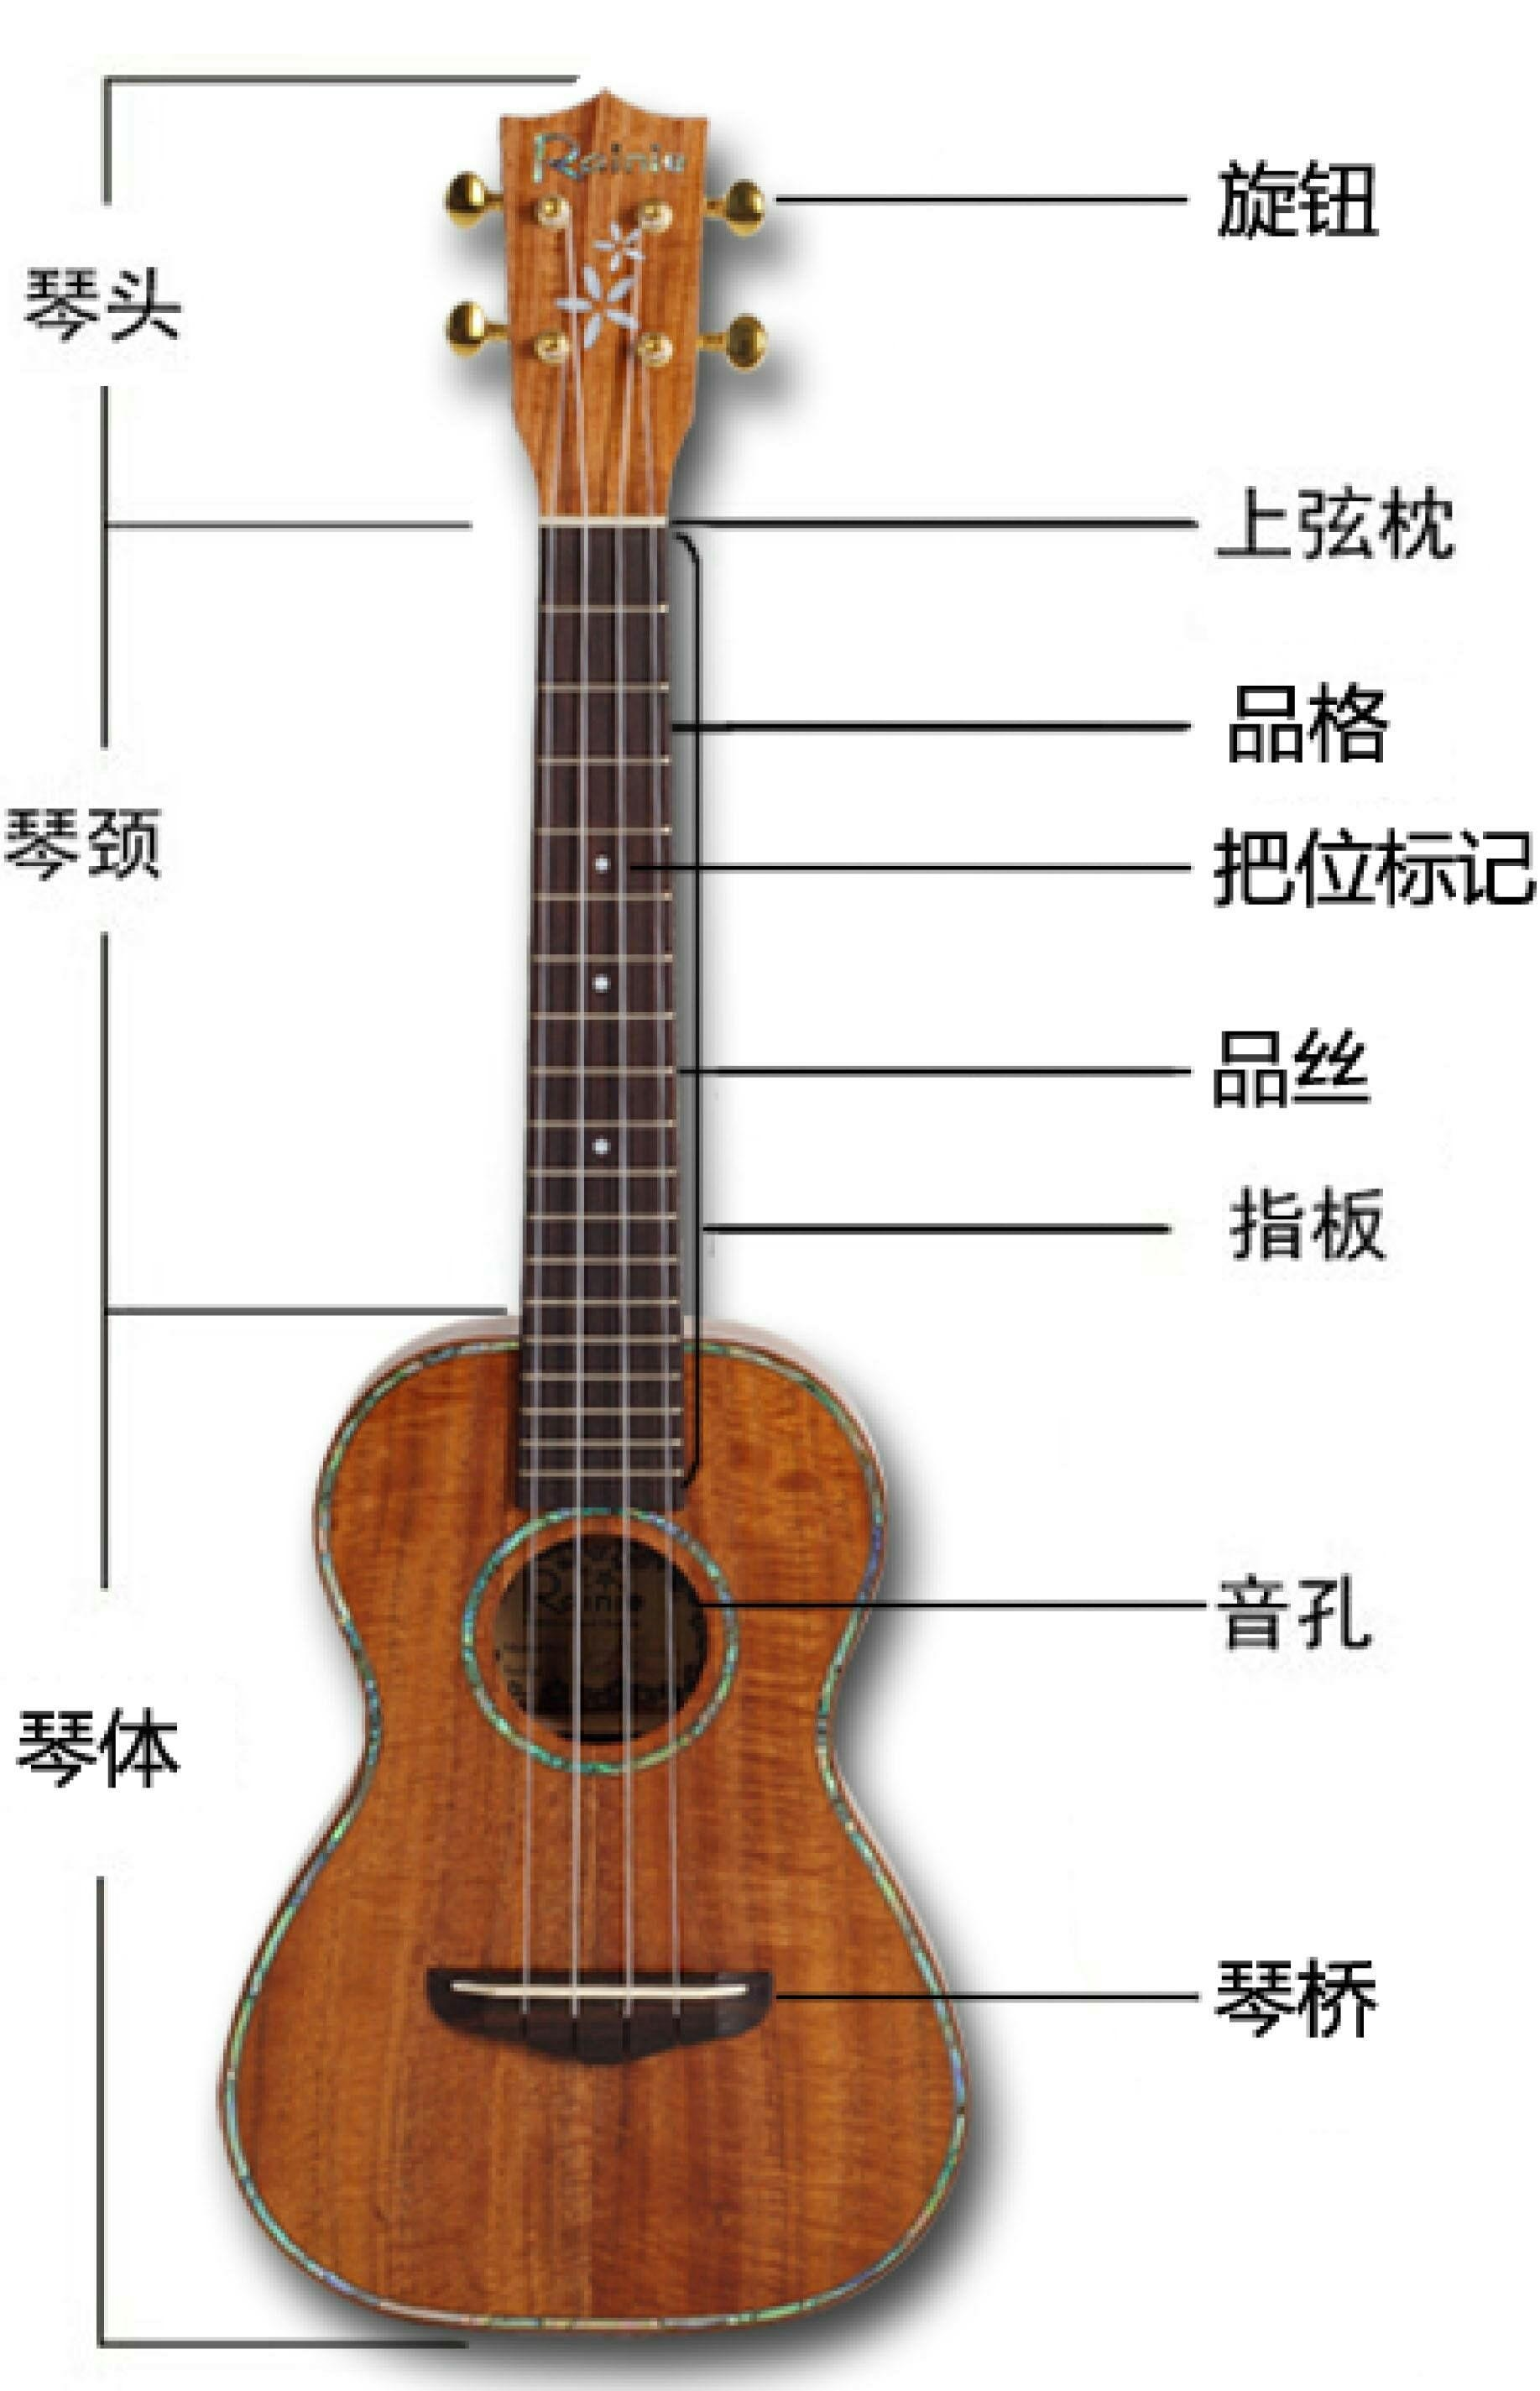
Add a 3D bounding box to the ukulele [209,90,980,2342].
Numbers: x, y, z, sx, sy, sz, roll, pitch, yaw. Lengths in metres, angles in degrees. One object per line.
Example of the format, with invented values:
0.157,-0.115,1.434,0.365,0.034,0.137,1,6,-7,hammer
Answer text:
-0.133,0.006,1.761,0.499,1.477,0.270,-2,-11,4,ukulele
